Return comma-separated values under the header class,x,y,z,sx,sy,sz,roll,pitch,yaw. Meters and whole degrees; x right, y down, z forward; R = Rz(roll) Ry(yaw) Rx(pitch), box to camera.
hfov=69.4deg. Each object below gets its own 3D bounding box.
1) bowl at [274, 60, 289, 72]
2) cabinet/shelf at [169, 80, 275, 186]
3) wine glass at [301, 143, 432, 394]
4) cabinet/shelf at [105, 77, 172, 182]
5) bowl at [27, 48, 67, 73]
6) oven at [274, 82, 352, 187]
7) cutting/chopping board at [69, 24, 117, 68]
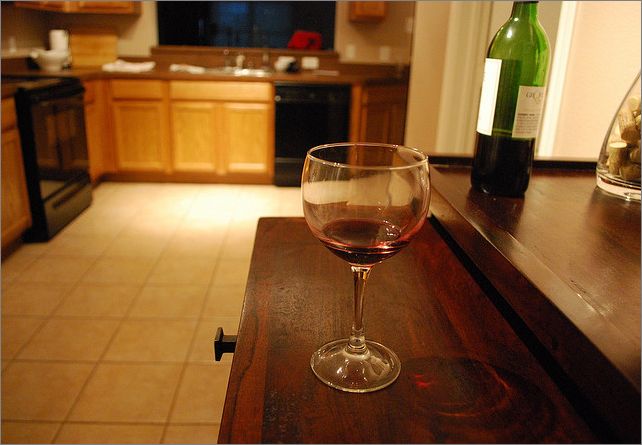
class,x,y,z,sx,sy,sz,roll,pitch,yaw
bowl,-0.364,-1.436,4.248,0.103,0.095,0.088,-15,26,-34
cabinet/shelf,-0.852,-0.792,4.065,0.912,0.839,0.510,2,11,1
wine glass,0.071,0.042,0.736,0.183,0.309,0.306,6,22,16
cabinet/shelf,-1.498,-0.789,3.820,0.473,0.747,0.162,2,21,4
bowl,-2.236,-1.361,3.803,0.241,0.135,0.242,1,23,-1
oven,-0.084,-0.625,4.061,0.774,0.935,0.755,5,-16,-14
cutting/chopping board,-2.076,-1.604,4.162,0.431,0.402,0.098,2,8,0
